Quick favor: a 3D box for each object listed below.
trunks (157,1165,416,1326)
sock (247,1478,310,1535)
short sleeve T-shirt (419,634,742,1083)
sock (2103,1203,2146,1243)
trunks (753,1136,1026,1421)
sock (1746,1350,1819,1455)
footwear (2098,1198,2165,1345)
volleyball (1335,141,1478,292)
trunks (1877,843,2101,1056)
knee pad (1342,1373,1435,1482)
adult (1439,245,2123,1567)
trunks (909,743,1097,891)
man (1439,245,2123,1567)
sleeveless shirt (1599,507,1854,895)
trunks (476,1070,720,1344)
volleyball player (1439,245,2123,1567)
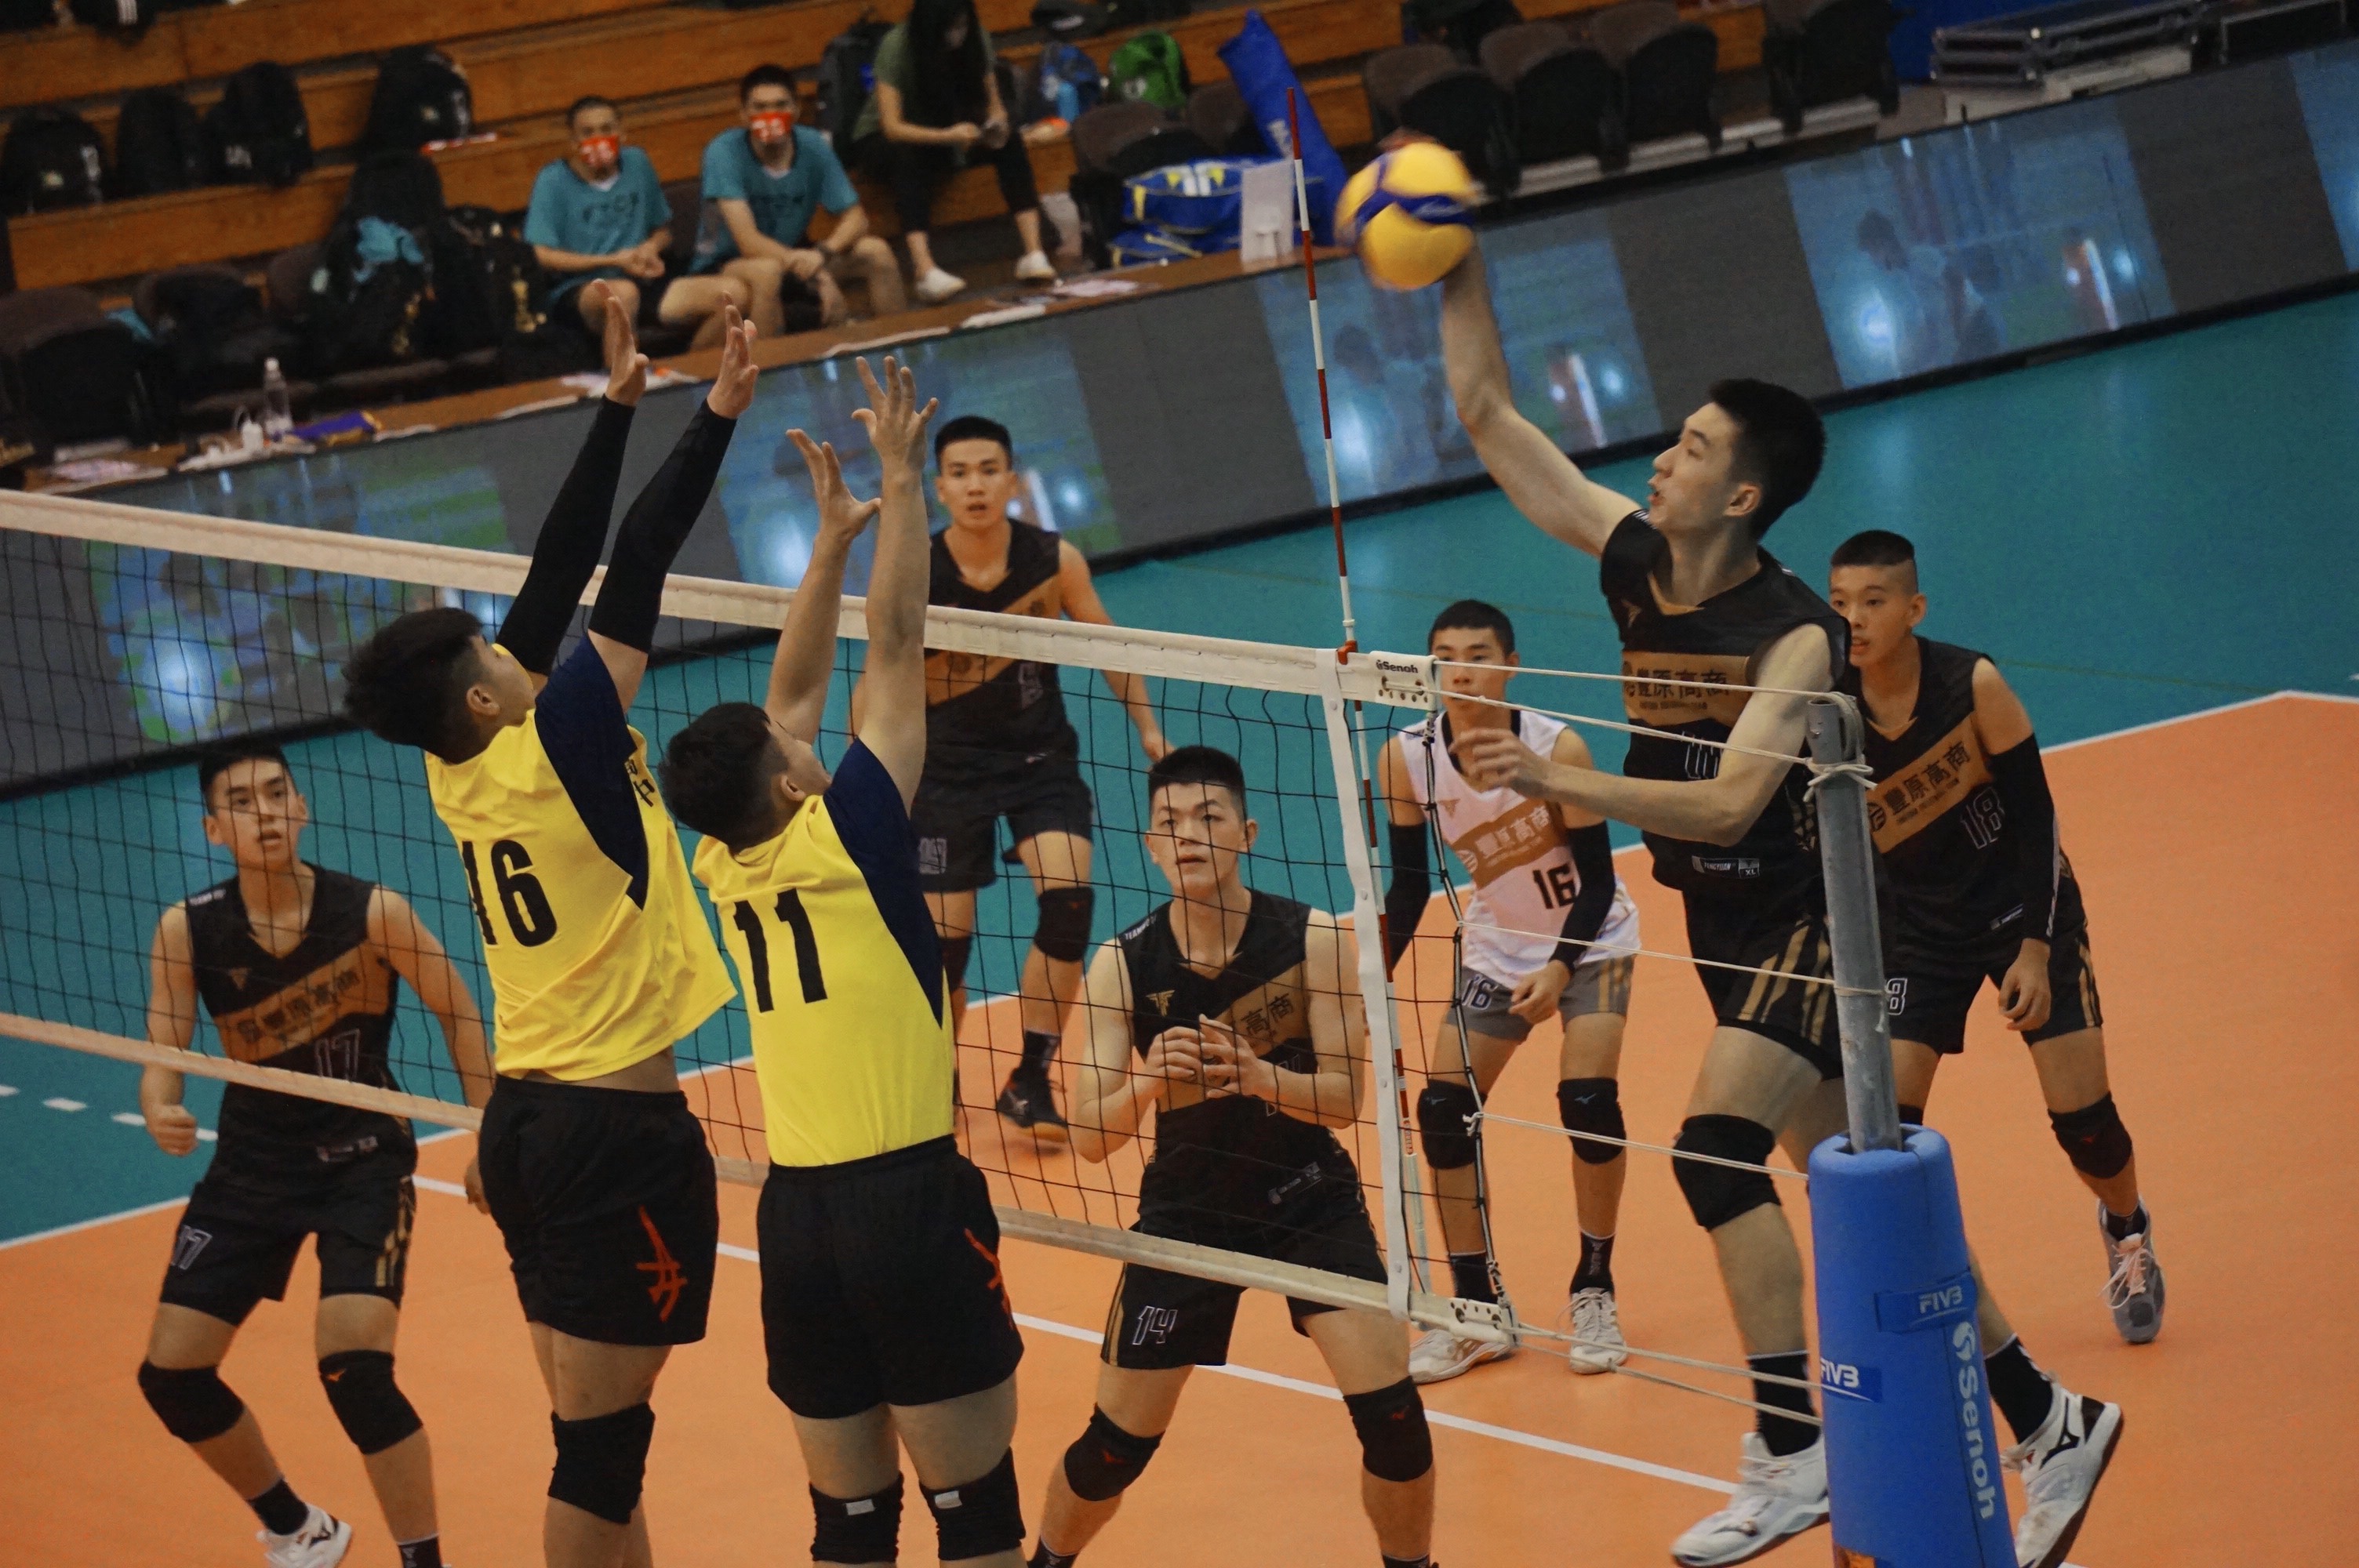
[{"bbox_3d":[-3.061,1.461,7.929,0.783,0.570,0.312,4,0,-6],"label":"trunks"},{"bbox_3d":[-3.119,2.495,7.871,0.192,0.214,0.119,-7,1,-22],"label":"sock"},{"bbox_3d":[-1.924,0.285,7.134,0.758,1.125,0.672,-9,12,18],"label":"short sleeve T-shirt"},{"bbox_3d":[3.364,1.550,8.064,0.120,0.167,0.085,-6,16,3],"label":"sock"},{"bbox_3d":[-0.879,1.449,6.765,0.857,0.755,0.505,-10,-2,15],"label":"trunks"},{"bbox_3d":[1.884,1.928,7.052,0.181,0.301,0.333,-6,1,13],"label":"sock"},{"bbox_3d":[3.375,1.720,8.115,0.186,0.526,0.220,-6,-2,15],"label":"footwear"},{"bbox_3d":[0.785,-1.948,7.690,0.486,0.579,0.499,3,48,11],"label":"volleyball"},{"bbox_3d":[2.828,0.573,7.968,0.715,0.687,0.398,-15,-5,-9],"label":"trunks"},{"bbox_3d":[0.649,1.971,7.009,0.217,0.289,0.172,-13,9,12],"label":"knee pad"},{"bbox_3d":[1.841,0.331,7.184,1.583,3.855,1.328,-6,1,5],"label":"adult"},{"bbox_3d":[-0.806,0.040,9.972,0.950,0.718,0.419,-11,33,-8],"label":"trunks"},{"bbox_3d":[1.844,0.330,7.180,1.575,3.855,1.338,-6,1,6],"label":"man"},{"bbox_3d":[1.699,-0.257,7.611,0.740,1.404,0.588,0,-3,45],"label":"sleeveless shirt"},{"bbox_3d":[-1.857,1.334,7.284,0.638,0.806,0.906,1,2,-42],"label":"trunks"},{"bbox_3d":[1.844,0.330,7.182,1.575,3.855,1.334,-6,1,6],"label":"volleyball player"}]
